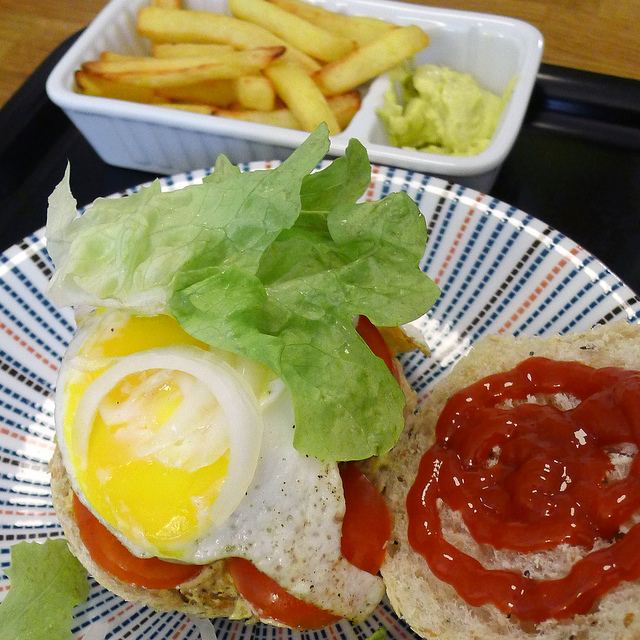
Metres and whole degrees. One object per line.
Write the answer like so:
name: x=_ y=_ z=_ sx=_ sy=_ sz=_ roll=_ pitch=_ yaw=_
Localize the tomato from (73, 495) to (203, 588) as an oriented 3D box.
tomato: x=-0.410 y=0.507 z=1.570 sx=0.231 sy=0.201 sz=0.285 roll=-12 pitch=23 yaw=-31
